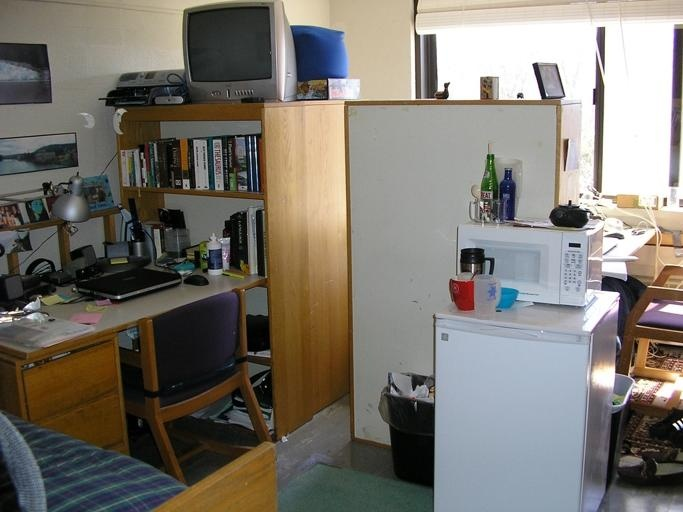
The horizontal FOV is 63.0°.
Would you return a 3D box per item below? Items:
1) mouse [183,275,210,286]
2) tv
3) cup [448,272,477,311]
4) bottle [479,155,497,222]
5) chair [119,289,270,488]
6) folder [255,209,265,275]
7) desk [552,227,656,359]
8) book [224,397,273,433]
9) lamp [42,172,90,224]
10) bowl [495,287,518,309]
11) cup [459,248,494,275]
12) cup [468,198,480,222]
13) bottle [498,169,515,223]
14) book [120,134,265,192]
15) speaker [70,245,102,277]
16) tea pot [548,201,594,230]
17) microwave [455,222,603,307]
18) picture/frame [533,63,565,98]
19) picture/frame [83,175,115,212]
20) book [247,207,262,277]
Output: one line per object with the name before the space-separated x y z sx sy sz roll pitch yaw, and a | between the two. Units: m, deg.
mouse | -0.824 0.137 3.171 0.116 0.034 0.068 1 8 33
tv | -0.591 -1.157 3.122 0.556 0.481 0.325 3 10 19
cup | 0.527 0.160 2.422 0.149 0.138 0.119 2 8 21
bottle | 0.700 -0.326 2.642 0.082 0.301 0.181 2 12 15
chair | -0.822 0.616 2.934 0.698 0.855 0.731 -8 12 -25
folder | -0.460 -0.071 3.176 0.066 0.280 0.268 0 5 -6
desk | 1.767 0.203 3.991 0.698 0.635 1.321 7 23 29
book | -0.615 0.989 3.467 0.346 0.096 0.250 8 14 19
lamp | -1.430 -0.334 3.004 0.189 0.207 0.189 -2 19 -40
bowl | 0.721 0.186 2.422 0.098 0.066 0.099 -1 2 0
cup | 0.587 0.022 2.452 0.147 0.141 0.102 0 9 -4
cup | 0.647 -0.224 2.708 0.050 0.112 0.240 1 12 9
bottle | 0.777 -0.289 2.606 0.075 0.236 0.142 2 12 16
book | -0.917 -0.551 3.338 1.062 0.317 0.093 5 13 28
speaker | -1.507 0.036 3.275 0.087 0.107 0.158 -6 11 -4
tea pot | 0.971 -0.167 2.397 0.138 0.079 0.102 -4 7 -39
microwave | 0.844 0.010 2.417 0.548 0.352 0.384 4 8 35
picture/frame | 1.018 -0.859 2.729 0.031 0.178 0.259 -11 7 42
picture/frame | -1.507 -0.388 3.466 0.056 0.202 0.209 0 15 32
book | -0.499 -0.091 3.205 0.113 0.325 0.349 -2 11 -13
